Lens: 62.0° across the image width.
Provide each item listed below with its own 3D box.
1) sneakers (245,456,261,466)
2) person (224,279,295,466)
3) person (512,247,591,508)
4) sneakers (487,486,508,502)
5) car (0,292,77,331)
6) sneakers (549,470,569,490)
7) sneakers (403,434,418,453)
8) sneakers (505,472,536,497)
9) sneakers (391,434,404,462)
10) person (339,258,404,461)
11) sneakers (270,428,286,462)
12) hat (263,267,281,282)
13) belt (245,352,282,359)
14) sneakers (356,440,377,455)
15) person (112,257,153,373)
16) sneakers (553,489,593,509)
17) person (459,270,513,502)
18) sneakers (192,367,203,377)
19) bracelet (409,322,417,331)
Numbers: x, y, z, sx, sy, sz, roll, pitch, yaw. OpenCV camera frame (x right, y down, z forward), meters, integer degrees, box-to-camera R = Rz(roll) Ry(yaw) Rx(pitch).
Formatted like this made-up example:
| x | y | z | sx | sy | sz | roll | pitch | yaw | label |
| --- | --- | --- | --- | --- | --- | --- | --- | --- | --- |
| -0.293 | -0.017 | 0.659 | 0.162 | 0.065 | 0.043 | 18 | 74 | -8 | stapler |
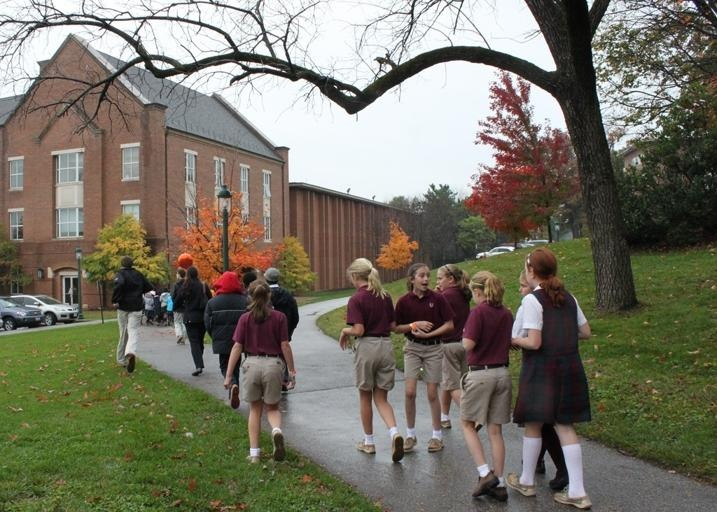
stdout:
| x | y | z | sx | sy | sz | roll | pitch | yaw | label |
| --- | --- | --- | --- | --- | --- | --- | --- | --- | --- |
| -1.453 | 2.813 | 8.184 | 0.113 | 0.122 | 0.084 | -1 | -2 | 12 | sneakers |
| -1.388 | 1.587 | 8.433 | 0.908 | 2.453 | 0.732 | 2 | 2 | 1 | person |
| 2.406 | 1.474 | 7.385 | 0.977 | 3.117 | 0.580 | 2 | 2 | 18 | person |
| 1.742 | 2.937 | 7.380 | 0.114 | 0.146 | 0.297 | 2 | 0 | -30 | sneakers |
| -16.670 | 2.933 | 31.558 | 3.178 | 1.381 | 1.637 | -2 | -2 | 11 | car |
| 2.585 | 2.870 | 7.579 | 0.318 | 0.163 | 0.108 | -31 | -28 | 32 | sneakers |
| 0.761 | 2.743 | 8.694 | 0.178 | 0.191 | 0.459 | -4 | -15 | 12 | sneakers |
| 2.057 | 2.892 | 7.576 | 0.150 | 0.148 | 0.339 | 1 | 4 | -26 | sneakers |
| 0.554 | 2.666 | 8.288 | 0.152 | 0.383 | 0.155 | 2 | 4 | -11 | sneakers |
| 0.222 | 1.462 | 8.499 | 0.866 | 2.808 | 0.621 | 2 | 2 | 8 | person |
| -1.093 | 2.591 | 8.215 | 0.172 | 0.433 | 0.248 | 1 | 2 | -7 | sneakers |
| -1.626 | 0.336 | 11.133 | 0.219 | 0.193 | 0.339 | 2 | 22 | -11 | hat |
| -1.337 | 1.401 | 8.440 | 0.526 | 0.109 | 0.152 | 2 | 2 | -3 | belt |
| 0.120 | 2.786 | 8.710 | 0.124 | 0.134 | 0.291 | 2 | 2 | -27 | sneakers |
| -4.960 | 1.240 | 12.924 | 0.735 | 2.472 | 0.702 | 2 | 2 | 7 | person |
| 2.616 | 2.932 | 7.255 | 0.426 | 0.197 | 0.177 | 6 | -5 | 30 | sneakers |
| 1.647 | 1.612 | 7.657 | 0.625 | 2.795 | 0.705 | 2 | 2 | 13 | person |
| -3.462 | 2.492 | 12.795 | 0.122 | 0.156 | 0.343 | 5 | -12 | -34 | sneakers |
| 0.801 | 1.034 | 8.695 | 0.109 | 0.120 | 0.049 | 2 | -3 | -1 | bracelet |
